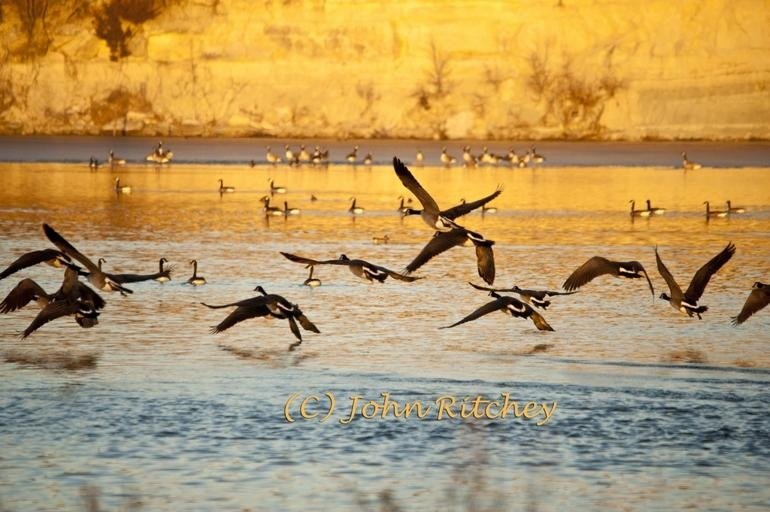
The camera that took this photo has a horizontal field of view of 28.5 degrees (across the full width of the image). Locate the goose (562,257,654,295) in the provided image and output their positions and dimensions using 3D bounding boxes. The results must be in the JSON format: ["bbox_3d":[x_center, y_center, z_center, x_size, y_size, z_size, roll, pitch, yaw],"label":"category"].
[{"bbox_3d":[4.912,0.394,34.582,1.679,0.731,0.955,1,5,4],"label":"goose"}]

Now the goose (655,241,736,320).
[{"bbox_3d":[7.035,0.715,34.912,1.504,1.860,3.560,2,5,12],"label":"goose"}]
